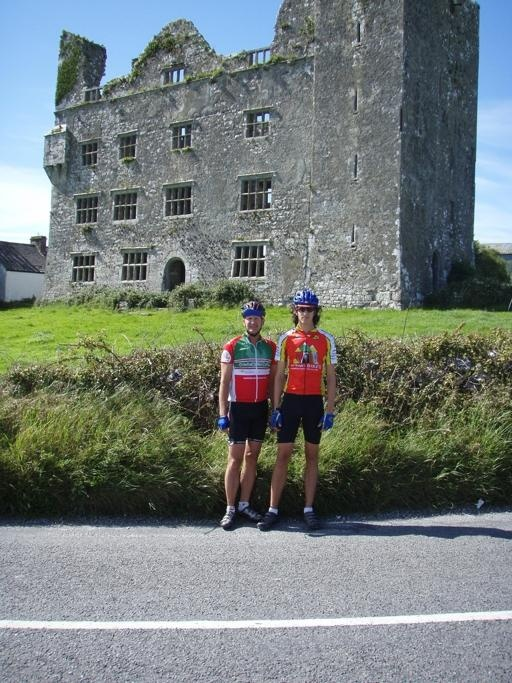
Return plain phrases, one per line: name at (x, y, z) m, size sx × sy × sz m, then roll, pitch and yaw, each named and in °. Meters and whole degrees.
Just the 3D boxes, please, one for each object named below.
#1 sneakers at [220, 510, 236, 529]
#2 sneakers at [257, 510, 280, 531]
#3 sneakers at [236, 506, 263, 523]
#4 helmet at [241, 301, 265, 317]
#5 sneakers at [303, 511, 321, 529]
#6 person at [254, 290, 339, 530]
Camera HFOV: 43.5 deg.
sneakers at (-0.252, 1.576, 5.680) m, size 0.129 × 0.134 × 0.175 m, roll 1°, pitch 2°, yaw -8°
sneakers at (0.103, 1.572, 5.691) m, size 0.131 × 0.129 × 0.318 m, roll 1°, pitch 2°, yaw 13°
sneakers at (-0.059, 1.581, 5.909) m, size 0.223 × 0.104 × 0.091 m, roll 7°, pitch 0°, yaw 26°
helmet at (-0.030, -0.313, 6.094) m, size 0.134 × 0.176 × 0.177 m, roll -1°, pitch -13°, yaw -3°
sneakers at (0.494, 1.584, 5.701) m, size 0.128 × 0.119 × 0.255 m, roll 1°, pitch 2°, yaw 0°
person at (0.401, 0.581, 5.906) m, size 0.632 × 2.098 × 0.738 m, roll 1°, pitch 1°, yaw 3°
